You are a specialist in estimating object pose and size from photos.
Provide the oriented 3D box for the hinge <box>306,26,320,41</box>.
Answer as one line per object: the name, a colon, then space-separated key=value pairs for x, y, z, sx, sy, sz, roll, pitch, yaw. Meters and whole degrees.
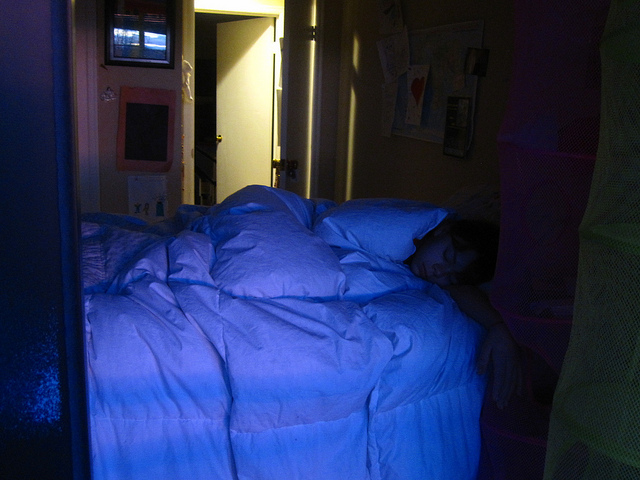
hinge: x=-0.046 y=-1.315 z=3.408 sx=0.089 sy=0.091 sz=0.023 roll=0 pitch=8 yaw=-12

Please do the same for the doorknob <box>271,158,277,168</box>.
doorknob: x=-0.306 y=-0.500 z=3.511 sx=0.016 sy=0.060 sz=0.060 roll=7 pitch=49 yaw=7

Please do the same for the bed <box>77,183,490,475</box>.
bed: x=-0.096 y=0.327 z=1.445 sx=0.764 sy=0.372 sz=0.848 roll=2 pitch=36 yaw=-17

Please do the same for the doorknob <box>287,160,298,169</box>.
doorknob: x=-0.171 y=-0.486 z=3.456 sx=0.029 sy=0.057 sz=0.092 roll=11 pitch=15 yaw=40

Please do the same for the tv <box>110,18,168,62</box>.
tv: x=-1.009 y=-1.116 z=3.002 sx=0.298 sy=0.202 sz=0.077 roll=-4 pitch=12 yaw=-23
